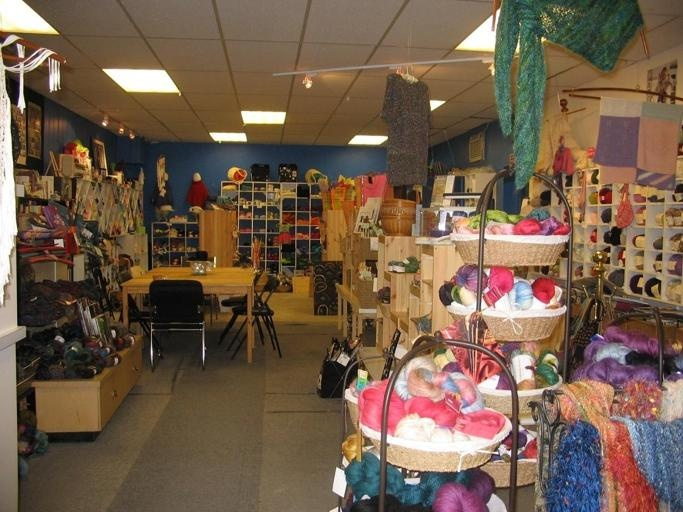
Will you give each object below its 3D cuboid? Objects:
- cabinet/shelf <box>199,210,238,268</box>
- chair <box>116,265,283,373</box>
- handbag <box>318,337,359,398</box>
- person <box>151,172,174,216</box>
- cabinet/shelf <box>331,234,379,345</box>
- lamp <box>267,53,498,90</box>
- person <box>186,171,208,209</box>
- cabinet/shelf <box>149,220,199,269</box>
[{"bbox_3d":[-2.375,-0.357,10.238,0.685,1.087,0.312,-1,7,-17],"label":"cabinet/shelf"},{"bbox_3d":[-1.473,0.631,6.318,1.173,0.717,1.386,0,2,0],"label":"chair"},{"bbox_3d":[-0.017,1.012,4.642,0.234,0.608,0.549,-1,8,-23],"label":"handbag"},{"bbox_3d":[-3.802,-1.264,11.258,0.420,0.981,0.482,-1,7,-19],"label":"person"},{"bbox_3d":[0.176,0.424,6.306,0.410,1.223,1.280,0,6,-6],"label":"cabinet/shelf"},{"bbox_3d":[0.471,-2.064,5.802,2.006,0.143,0.540,4,8,18],"label":"lamp"},{"bbox_3d":[-3.084,-1.412,11.411,0.447,0.756,0.416,-1,7,-17],"label":"person"},{"bbox_3d":[-3.478,-0.225,10.953,0.970,0.942,0.314,0,10,-8],"label":"cabinet/shelf"}]
